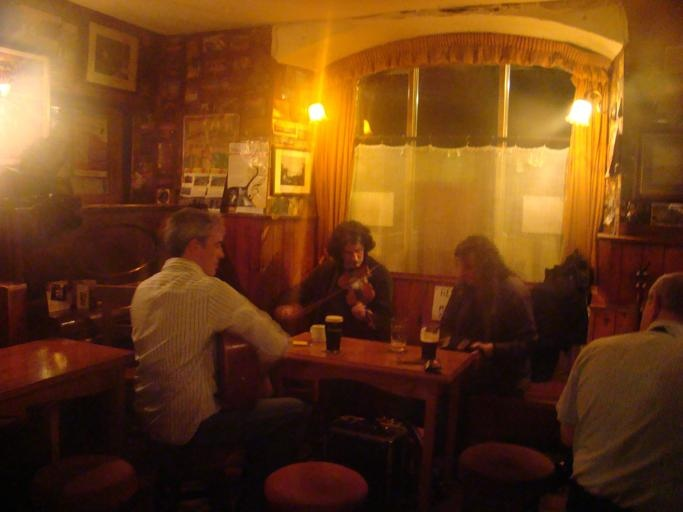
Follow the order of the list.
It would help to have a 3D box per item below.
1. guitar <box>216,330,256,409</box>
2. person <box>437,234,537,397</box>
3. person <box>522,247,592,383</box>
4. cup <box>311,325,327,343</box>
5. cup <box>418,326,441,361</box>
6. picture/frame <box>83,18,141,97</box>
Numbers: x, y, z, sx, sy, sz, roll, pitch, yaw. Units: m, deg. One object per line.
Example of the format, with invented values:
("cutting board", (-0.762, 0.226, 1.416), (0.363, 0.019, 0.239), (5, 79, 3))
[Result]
("guitar", (-0.609, 0.648, 3.378), (0.222, 0.433, 0.426), (-3, 2, -15))
("person", (1.118, 0.441, 4.575), (0.708, 1.153, 0.564), (3, 6, 8))
("person", (1.908, 0.534, 5.402), (0.599, 1.138, 0.273), (12, -11, -5))
("cup", (-0.173, 0.555, 4.281), (0.110, 0.111, 0.113), (0, 0, 0))
("cup", (0.554, 0.554, 3.803), (0.104, 0.234, 0.176), (3, 6, 6))
("picture/frame", (-2.358, -2.028, 6.162), (0.050, 0.570, 0.601), (11, 11, 35))
